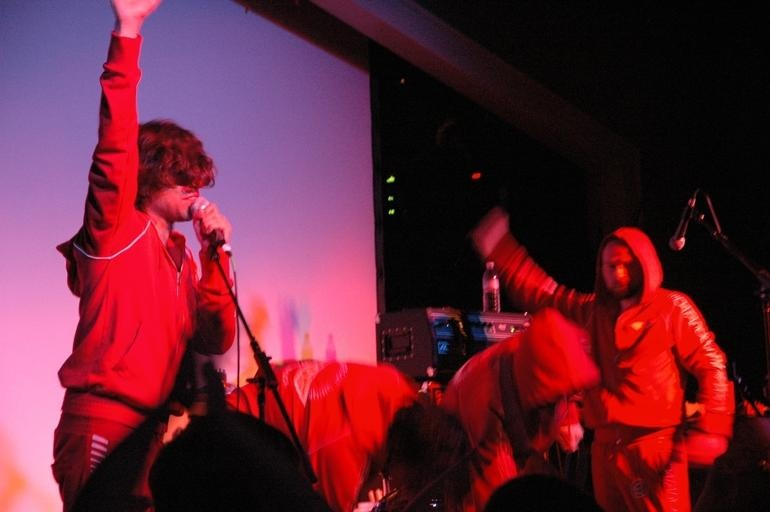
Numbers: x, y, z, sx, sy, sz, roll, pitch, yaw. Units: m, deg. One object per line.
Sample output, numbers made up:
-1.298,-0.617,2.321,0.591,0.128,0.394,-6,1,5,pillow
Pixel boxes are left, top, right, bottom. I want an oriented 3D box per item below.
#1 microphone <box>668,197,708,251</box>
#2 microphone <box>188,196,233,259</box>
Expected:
1.937,-0.236,4.551,0.121,0.485,0.240,-8,-35,38,microphone
-1.016,-0.167,4.076,0.192,0.562,0.199,-11,-41,-12,microphone
